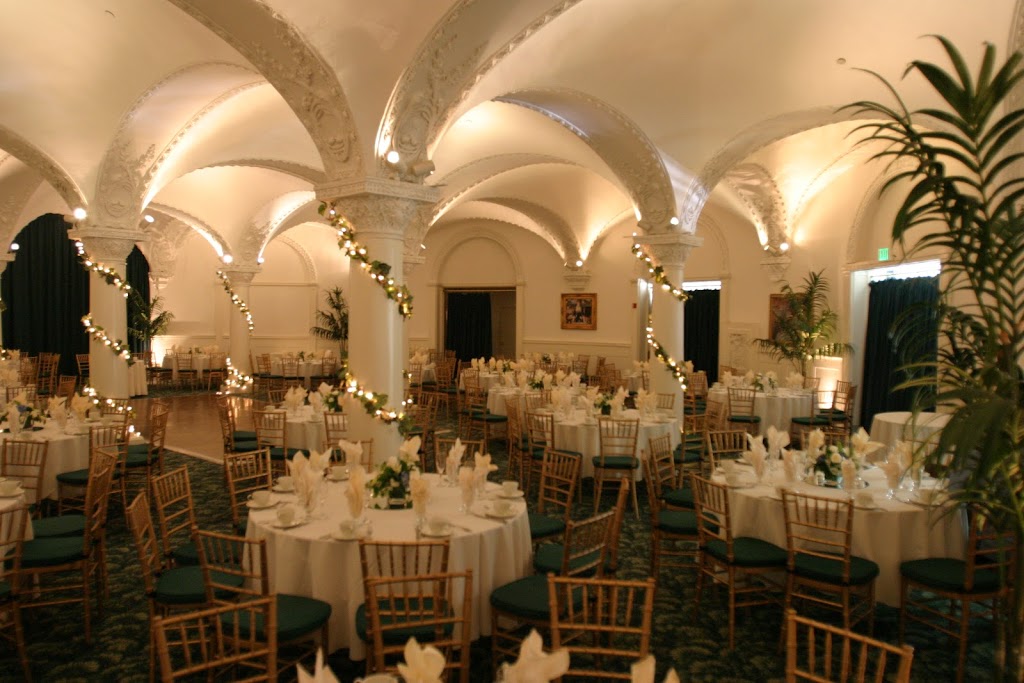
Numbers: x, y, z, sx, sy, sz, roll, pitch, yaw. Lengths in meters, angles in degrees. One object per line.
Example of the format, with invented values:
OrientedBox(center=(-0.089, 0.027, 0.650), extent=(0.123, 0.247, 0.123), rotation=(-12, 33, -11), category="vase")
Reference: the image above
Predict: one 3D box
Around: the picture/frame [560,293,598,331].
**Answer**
OrientedBox(center=(2.051, -0.899, 21.095), extent=(1.092, 1.045, 0.047), rotation=(2, 6, 43), category="picture/frame")
